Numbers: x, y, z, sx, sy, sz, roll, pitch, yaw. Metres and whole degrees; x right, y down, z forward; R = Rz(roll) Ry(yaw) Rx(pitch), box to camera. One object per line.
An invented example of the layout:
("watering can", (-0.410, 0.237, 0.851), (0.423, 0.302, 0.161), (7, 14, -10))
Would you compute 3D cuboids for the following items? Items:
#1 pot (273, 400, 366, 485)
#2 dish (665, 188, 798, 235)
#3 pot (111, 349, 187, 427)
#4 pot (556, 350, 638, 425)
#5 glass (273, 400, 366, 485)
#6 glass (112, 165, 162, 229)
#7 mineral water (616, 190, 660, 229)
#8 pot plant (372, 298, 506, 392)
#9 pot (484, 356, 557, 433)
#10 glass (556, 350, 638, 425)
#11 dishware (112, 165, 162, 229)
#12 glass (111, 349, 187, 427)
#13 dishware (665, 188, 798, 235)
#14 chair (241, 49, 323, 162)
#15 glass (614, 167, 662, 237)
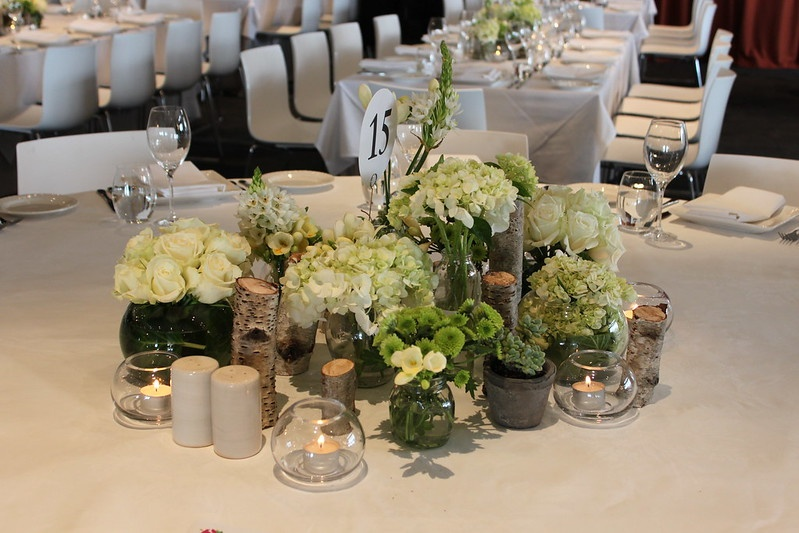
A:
("pot", (-0.123, 0.280, 1.057), (0.134, 0.136, 0.091), (-8, 57, 8))
("dish", (0.939, -0.161, 1.842), (0.207, 0.064, 0.197), (9, 27, 40))
("pot", (-0.429, 0.214, 1.156), (0.125, 0.084, 0.125), (0, 23, 0))
("pot", (0.340, 0.213, 1.128), (0.130, 0.090, 0.130), (-3, 18, 1))
("glass", (-0.123, 0.281, 1.008), (0.134, 0.136, 0.091), (-8, 57, 8))
("glass", (-0.685, -0.186, 1.686), (0.127, 0.164, 0.131), (7, 12, 13))
("mineral water", (0.649, -0.155, 1.782), (0.103, 0.101, 0.103), (0, 15, -4))
("pot plant", (0.063, 0.122, 1.012), (0.164, 0.123, 0.164), (-13, 29, 2))
("pot", (0.199, 0.225, 1.154), (0.120, 0.094, 0.123), (0, 21, 0))
("glass", (0.341, 0.213, 1.128), (0.130, 0.090, 0.130), (-2, 18, 3))
("dishware", (-0.685, -0.183, 1.686), (0.127, 0.164, 0.131), (7, 12, 13))
("glass", (-0.427, 0.213, 1.151), (0.125, 0.084, 0.125), (-8, 24, -18))
("dishware", (0.929, -0.160, 1.850), (0.207, 0.064, 0.197), (9, 27, 40))
("chair", (-0.648, -0.972, 3.649), (0.385, 0.481, 0.286), (-3, 24, -5))
("glass", (0.624, -0.188, 1.773), (0.152, 0.219, 0.158), (0, 8, 8))
